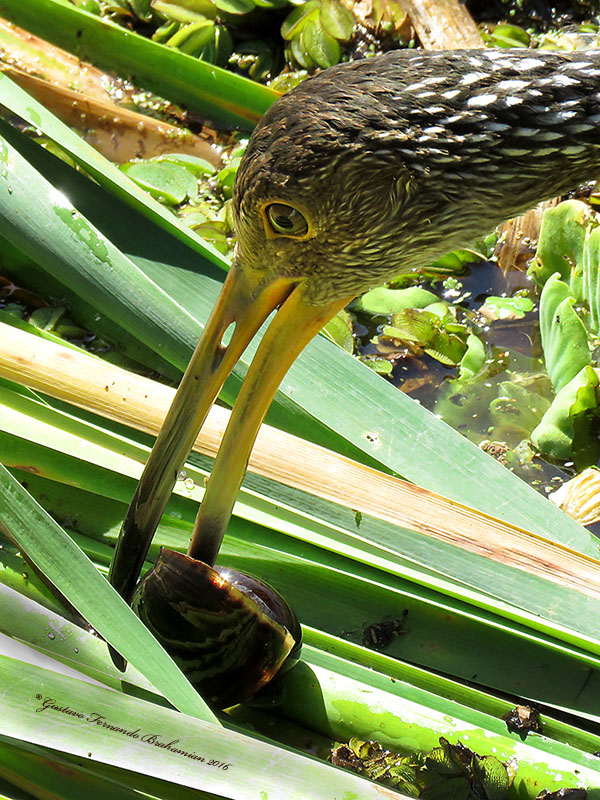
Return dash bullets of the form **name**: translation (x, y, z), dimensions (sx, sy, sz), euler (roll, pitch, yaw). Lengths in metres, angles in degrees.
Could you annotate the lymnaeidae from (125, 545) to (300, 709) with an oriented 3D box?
- **lymnaeidae**: translation (-0.144, 0.456, 1.500), dimensions (0.210, 0.264, 0.170), euler (50, 38, -32)
